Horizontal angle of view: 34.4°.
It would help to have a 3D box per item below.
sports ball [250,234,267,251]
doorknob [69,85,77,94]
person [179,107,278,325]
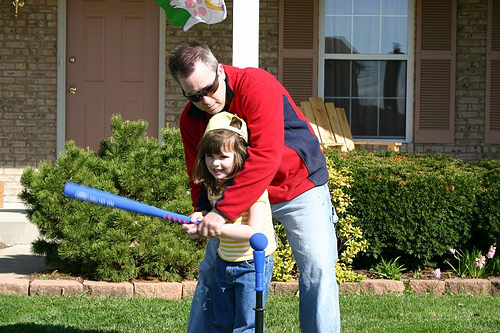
[{"bbox_3d":[0.092,0.783,8.543,0.161,0.166,0.160,35,-14,10],"label":"sports ball"},{"bbox_3d":[-3.078,-1.345,14.043,0.105,0.114,0.037,-6,5,0],"label":"doorknob"},{"bbox_3d":[-0.227,0.536,8.846,1.015,2.419,0.767,1,-1,1],"label":"person"}]
